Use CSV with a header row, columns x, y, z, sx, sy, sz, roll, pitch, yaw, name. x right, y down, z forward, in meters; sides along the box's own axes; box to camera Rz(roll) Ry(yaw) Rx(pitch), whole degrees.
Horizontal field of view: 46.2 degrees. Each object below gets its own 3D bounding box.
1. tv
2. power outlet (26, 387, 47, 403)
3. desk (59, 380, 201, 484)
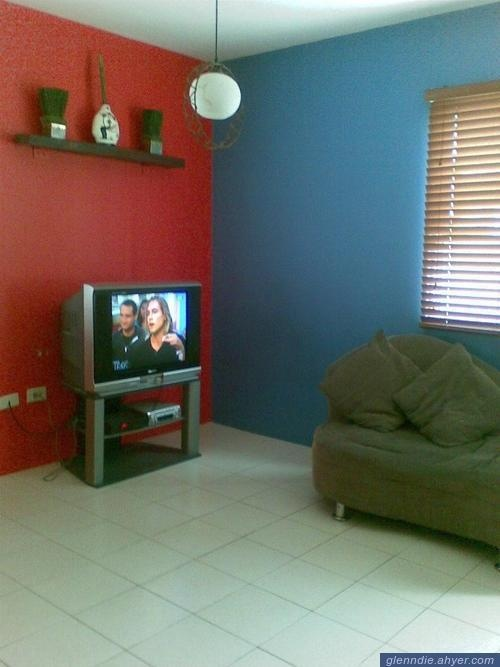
x,y,z,sx,sy,sz,roll,pitch,yaw,name
-0.791,0.012,3.618,0.519,0.601,0.925,4,6,30,tv
-1.277,0.363,3.479,0.014,0.070,0.107,8,8,36,power outlet
-0.742,0.453,3.577,0.946,0.582,0.556,-6,10,-44,desk
